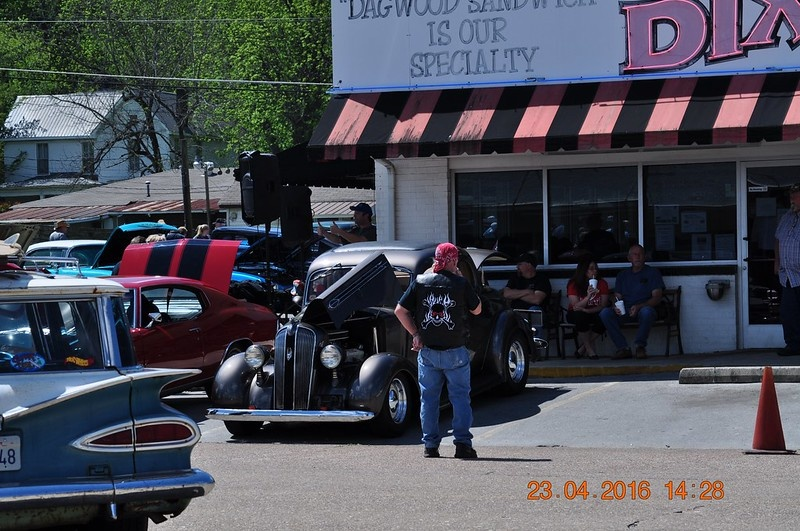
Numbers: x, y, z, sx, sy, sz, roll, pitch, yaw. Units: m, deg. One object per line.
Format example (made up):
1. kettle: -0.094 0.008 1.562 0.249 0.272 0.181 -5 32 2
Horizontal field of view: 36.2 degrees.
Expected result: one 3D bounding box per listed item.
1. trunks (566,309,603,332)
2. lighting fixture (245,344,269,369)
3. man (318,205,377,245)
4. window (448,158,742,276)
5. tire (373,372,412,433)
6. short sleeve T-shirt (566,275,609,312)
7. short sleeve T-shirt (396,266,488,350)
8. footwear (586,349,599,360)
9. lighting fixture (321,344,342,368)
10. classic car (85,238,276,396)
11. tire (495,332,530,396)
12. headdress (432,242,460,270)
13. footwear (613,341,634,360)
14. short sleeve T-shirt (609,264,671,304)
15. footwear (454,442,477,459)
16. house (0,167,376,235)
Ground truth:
1. trunks: 3.187 0.980 21.105 0.435 0.173 0.416 3 -21 5
2. lighting fixture: -1.993 1.295 17.235 0.357 0.349 0.299 -5 10 -12
3. man: -0.856 -0.632 21.657 1.016 0.760 0.715 -16 9 -27
4. window: 3.336 -0.987 22.176 6.325 2.127 0.112 1 9 42
5. tire: -0.133 1.911 17.019 0.300 0.897 0.930 -1 0 31
6. short sleeve T-shirt: 3.263 0.603 21.289 0.843 0.759 0.510 -1 -4 13
7. short sleeve T-shirt: 0.531 0.607 16.276 1.213 1.055 0.616 1 7 -7
8. footwear: 3.316 1.549 21.233 0.230 0.214 0.596 -1 10 8
9. lighting fixture: -0.942 1.269 16.830 0.271 0.299 0.304 2 2 2
10. classic car: -3.384 0.730 19.754 1.928 1.616 3.218 -1 0 21
11. tire: 1.617 1.517 18.933 0.345 0.943 0.981 -5 -16 32
12. headdress: 0.601 -0.109 16.263 0.288 0.361 0.372 4 10 5
13. footwear: 3.807 1.460 20.809 0.439 0.245 0.262 -8 11 -28
14. short sleeve T-shirt: 4.161 0.382 21.348 1.114 0.876 0.600 -4 -8 23
15. footwear: 0.841 2.439 15.927 0.298 0.193 0.150 -1 4 -14
16. house: -10.471 -2.657 51.251 7.369 1.755 7.236 -2 -2 27
